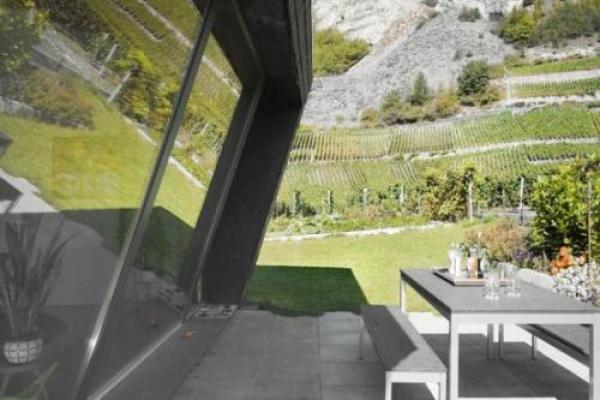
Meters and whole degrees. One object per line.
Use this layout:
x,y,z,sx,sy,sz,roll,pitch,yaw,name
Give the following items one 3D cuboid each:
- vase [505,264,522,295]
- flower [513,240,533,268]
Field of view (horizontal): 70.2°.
1.724,0.665,3.494,0.163,0.248,0.165,-7,-13,40,vase
3.691,0.901,7.010,0.373,0.483,0.344,5,-7,-42,flower
